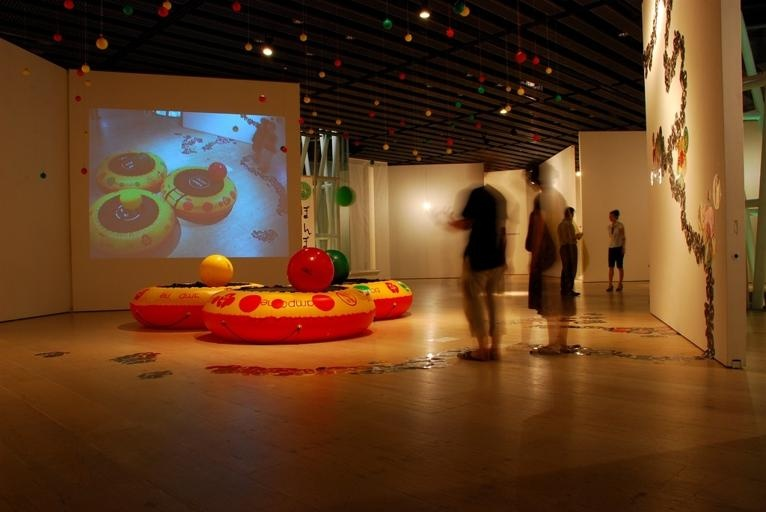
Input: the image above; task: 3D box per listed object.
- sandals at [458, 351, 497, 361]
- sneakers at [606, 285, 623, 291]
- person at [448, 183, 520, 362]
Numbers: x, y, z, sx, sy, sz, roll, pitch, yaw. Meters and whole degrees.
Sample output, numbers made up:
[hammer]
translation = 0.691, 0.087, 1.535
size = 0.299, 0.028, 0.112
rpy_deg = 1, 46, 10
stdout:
[sandals]
translation = 0.948, 1.018, 5.031
size = 0.338, 0.088, 0.135
rpy_deg = 5, 2, 37
[sneakers]
translation = 5.457, 0.757, 11.695
size = 0.354, 0.141, 0.127
rpy_deg = 6, -9, -40
[person]
translation = 0.973, 0.185, 4.811
size = 0.441, 1.727, 0.630
rpy_deg = 0, 3, 14
